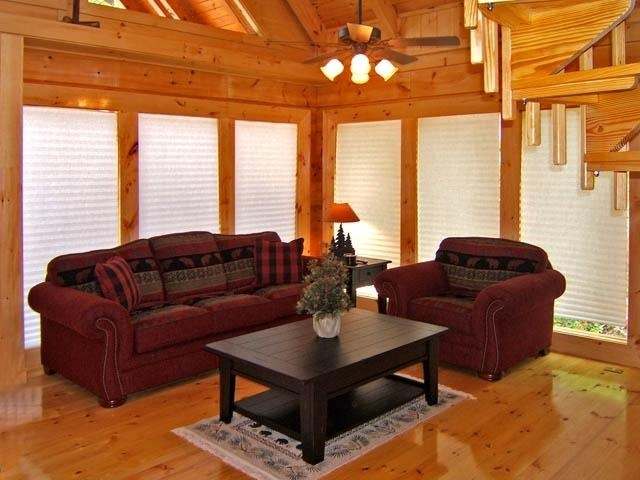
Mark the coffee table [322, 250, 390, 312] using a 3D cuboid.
[{"bbox_3d":[0.490,0.410,5.732,0.722,0.674,0.737,-7,9,-44],"label":"coffee table"}]

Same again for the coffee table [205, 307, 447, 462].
[{"bbox_3d":[-0.158,0.818,3.644,0.991,0.410,1.266,4,7,44],"label":"coffee table"}]

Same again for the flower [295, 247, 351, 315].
[{"bbox_3d":[0.011,0.306,3.915,0.568,0.429,0.455,2,2,-3],"label":"flower"}]

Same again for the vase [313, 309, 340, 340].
[{"bbox_3d":[0.047,0.598,3.760,0.224,0.155,0.210,0,-1,31],"label":"vase"}]

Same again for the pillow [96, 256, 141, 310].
[{"bbox_3d":[-1.624,0.351,4.240,0.289,0.361,0.495,-8,1,10],"label":"pillow"}]
